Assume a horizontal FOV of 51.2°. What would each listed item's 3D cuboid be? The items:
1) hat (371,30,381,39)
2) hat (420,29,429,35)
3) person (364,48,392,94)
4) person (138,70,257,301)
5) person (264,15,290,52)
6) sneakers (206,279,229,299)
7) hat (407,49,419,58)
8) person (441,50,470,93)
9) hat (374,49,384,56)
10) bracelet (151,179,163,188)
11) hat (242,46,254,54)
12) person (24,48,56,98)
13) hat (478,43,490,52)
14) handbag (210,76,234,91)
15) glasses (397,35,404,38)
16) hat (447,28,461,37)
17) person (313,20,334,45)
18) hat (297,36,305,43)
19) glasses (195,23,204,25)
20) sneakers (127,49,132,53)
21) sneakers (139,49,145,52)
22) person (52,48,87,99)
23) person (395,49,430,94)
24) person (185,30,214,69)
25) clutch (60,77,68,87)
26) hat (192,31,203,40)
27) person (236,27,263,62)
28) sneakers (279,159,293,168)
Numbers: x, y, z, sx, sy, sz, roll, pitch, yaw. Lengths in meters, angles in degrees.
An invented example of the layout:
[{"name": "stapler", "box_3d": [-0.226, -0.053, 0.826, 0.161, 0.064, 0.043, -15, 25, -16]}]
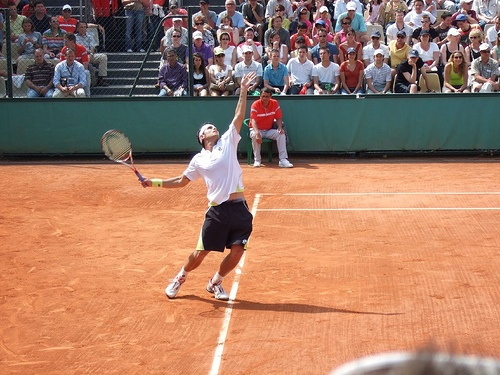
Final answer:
[{"name": "hat", "box_3d": [3.496, -4.239, 14.510, 0.242, 0.177, 0.302, 2, 14, 12]}, {"name": "hat", "box_3d": [4.926, -4.357, 14.712, 0.195, 0.146, 0.271, 3, 5, 4]}, {"name": "person", "box_3d": [3.522, -3.155, 14.285, 0.746, 1.137, 0.503, 1, 14, 6]}, {"name": "person", "box_3d": [-0.472, 0.100, 6.037, 0.983, 2.351, 0.698, -1, 14, -1]}, {"name": "person", "box_3d": [0.800, -4.496, 15.272, 0.772, 1.064, 0.358, 2, 35, 14]}, {"name": "sneakers", "box_3d": [-0.371, 1.194, 6.127, 0.133, 0.137, 0.326, -3, 7, -35]}, {"name": "hat", "box_3d": [4.421, -3.599, 14.095, 0.265, 0.205, 0.317, 2, 14, 11]}, {"name": "person", "box_3d": [5.658, -3.145, 14.240, 0.668, 1.081, 0.570, 4, 15, 20]}, {"name": "hat", "box_3d": [3.518, -3.663, 14.202, 0.328, 0.153, 0.470, 2, 2, 8]}, {"name": "bracelet", "box_3d": [-1.072, -0.044, 6.016, 0.113, 0.079, 0.086, -1, 6, -14]}, {"name": "hat", "box_3d": [-0.079, -3.760, 14.292, 0.373, 0.225, 0.595, 1, 4, -1]}, {"name": "person", "box_3d": [-5.836, -3.126, 14.429, 0.785, 1.276, 0.729, -5, 15, -14]}, {"name": "hat", "box_3d": [6.291, -3.734, 13.989, 0.236, 0.171, 0.320, -1, -7, 10]}, {"name": "handbag", "box_3d": [-0.752, -2.783, 14.434, 0.493, 0.208, 0.479, -2, 2, 1]}, {"name": "glasses", "box_3d": [4.216, -4.184, 14.546, 0.211, 0.093, 0.076, -5, 15, -18]}, {"name": "hat", "box_3d": [5.723, -4.343, 14.657, 0.285, 0.197, 0.379, -4, 2, -6]}, {"name": "person", "box_3d": [2.139, -4.649, 15.405, 0.487, 0.418, 0.806, -2, 2, -11]}, {"name": "hat", "box_3d": [1.448, -4.197, 14.851, 0.209, 0.213, 0.278, 1, -2, -1]}, {"name": "glasses", "box_3d": [-1.425, -4.512, 14.469, 0.292, 0.087, 0.159, 2, 14, 12]}, {"name": "sneakers", "box_3d": [-3.574, -4.054, 15.512, 0.114, 0.082, 0.113, -3, 6, -9]}, {"name": "sneakers", "box_3d": [-3.188, -4.013, 15.452, 0.172, 0.093, 0.116, 3, -12, 4]}, {"name": "person", "box_3d": [-4.994, -3.118, 14.382, 0.936, 1.297, 0.645, -6, 15, -18]}, {"name": "person", "box_3d": [4.353, -3.106, 14.236, 0.820, 1.259, 1.259, -1, 22, -4]}, {"name": "person", "box_3d": [-1.428, -3.700, 14.467, 0.745, 1.147, 0.648, -5, 16, 6]}, {"name": "clutch", "box_3d": [-5.136, -2.906, 14.444, 0.253, 0.265, 0.041, 3, 15, 14]}, {"name": "hat", "box_3d": [-1.431, -4.148, 14.274, 0.258, 0.230, 0.384, -2, 14, -2]}, {"name": "person", "box_3d": [0.048, -4.163, 15.165, 0.975, 1.331, 0.948, -1, 8, -4]}, {"name": "sneakers", "box_3d": [0.928, -0.606, 13.396, 0.160, 0.160, 0.379, -3, 3, -35]}]
